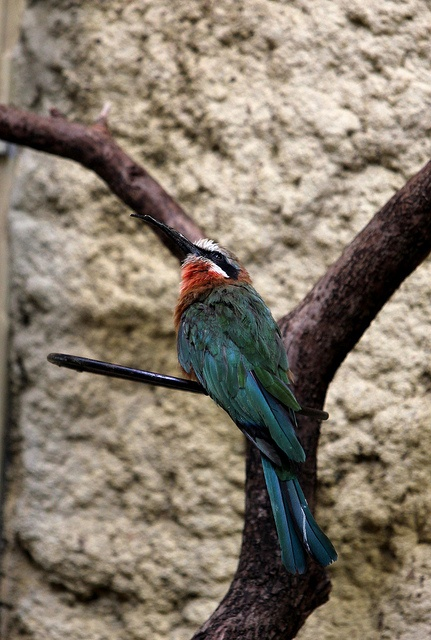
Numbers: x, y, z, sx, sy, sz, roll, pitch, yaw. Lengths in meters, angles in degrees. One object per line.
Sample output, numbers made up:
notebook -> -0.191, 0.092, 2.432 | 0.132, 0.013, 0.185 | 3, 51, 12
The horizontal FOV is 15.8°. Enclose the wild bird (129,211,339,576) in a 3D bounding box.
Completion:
wild bird -> 0.088, 0.277, 6.125 | 0.495, 1.223, 1.006 | 4, 5, -26
